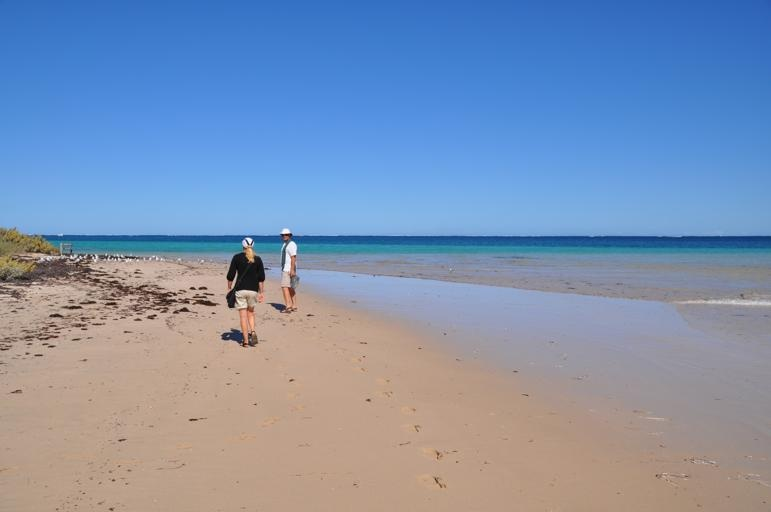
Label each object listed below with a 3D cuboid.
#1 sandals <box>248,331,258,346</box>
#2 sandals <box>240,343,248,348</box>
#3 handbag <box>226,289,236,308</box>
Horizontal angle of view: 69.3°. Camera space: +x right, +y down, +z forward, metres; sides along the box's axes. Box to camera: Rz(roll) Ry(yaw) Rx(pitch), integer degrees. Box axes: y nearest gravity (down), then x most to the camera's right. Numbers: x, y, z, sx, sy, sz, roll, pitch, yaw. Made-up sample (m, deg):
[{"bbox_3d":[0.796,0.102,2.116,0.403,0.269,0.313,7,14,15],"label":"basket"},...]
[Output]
[{"bbox_3d":[-3.206,1.975,13.432,0.227,0.334,0.151,-1,0,-8],"label":"sandals"},{"bbox_3d":[-3.361,2.111,13.321,0.105,0.062,0.173,3,5,5],"label":"sandals"},{"bbox_3d":[-3.568,0.985,12.957,0.178,0.450,0.279,2,3,-15],"label":"handbag"}]
